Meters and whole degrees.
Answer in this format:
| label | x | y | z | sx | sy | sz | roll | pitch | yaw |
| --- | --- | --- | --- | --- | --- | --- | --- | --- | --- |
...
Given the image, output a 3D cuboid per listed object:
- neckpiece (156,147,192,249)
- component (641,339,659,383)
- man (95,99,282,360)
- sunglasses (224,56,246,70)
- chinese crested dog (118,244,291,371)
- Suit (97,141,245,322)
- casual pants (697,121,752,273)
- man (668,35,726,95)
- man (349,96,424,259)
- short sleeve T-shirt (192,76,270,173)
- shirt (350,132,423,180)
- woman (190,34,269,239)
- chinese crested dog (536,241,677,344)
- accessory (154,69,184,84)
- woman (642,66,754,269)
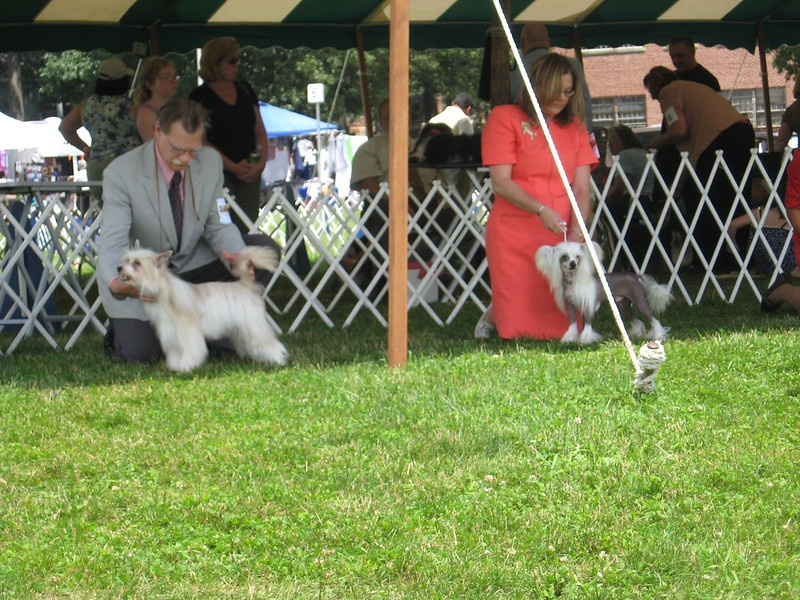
| label | x | y | z | sx | sy | sz | roll | pitch | yaw |
| --- | --- | --- | --- | --- | --- | --- | --- | --- | --- |
| neckpiece | -1.477 | -0.702 | 6.084 | 0.260 | 0.510 | 0.120 | -3 | 10 | -27 |
| component | 1.333 | 0.310 | 4.918 | 0.120 | 0.211 | 0.233 | 5 | 11 | 14 |
| man | -1.626 | -0.467 | 6.288 | 1.185 | 1.753 | 1.041 | -18 | 32 | -41 |
| sunglasses | -1.432 | -2.042 | 7.986 | 0.066 | 0.118 | 0.197 | 5 | 11 | 15 |
| chinese crested dog | -1.191 | 0.035 | 6.000 | 1.063 | 0.774 | 0.368 | 0 | 18 | 15 |
| Suit | -1.563 | -0.432 | 6.364 | 0.928 | 1.262 | 0.837 | -2 | 31 | -15 |
| casual pants | 3.071 | -1.014 | 8.833 | 0.506 | 1.385 | 1.190 | 6 | 11 | 20 |
| man | 3.124 | -2.542 | 9.988 | 0.414 | 0.670 | 0.798 | -24 | 25 | -19 |
| man | -0.156 | -1.101 | 8.537 | 0.639 | 1.484 | 1.403 | 3 | 11 | 6 |
| short sleeve T-shirt | -1.496 | -1.624 | 8.220 | 0.636 | 0.647 | 0.336 | -11 | 3 | 8 |
| shirt | -0.185 | -1.352 | 8.708 | 0.264 | 0.446 | 0.576 | 26 | 44 | 31 |
| woman | -1.503 | -1.231 | 8.351 | 0.678 | 2.221 | 0.670 | -11 | 30 | -22 |
| chinese crested dog | 1.424 | -0.068 | 6.361 | 0.948 | 0.701 | 0.501 | -1 | 11 | -17 |
| accessory | -1.951 | -1.882 | 7.732 | 0.165 | 0.101 | 0.128 | -19 | -6 | 41 |
| woman | 2.911 | -1.307 | 8.982 | 0.741 | 2.179 | 1.011 | -11 | -1 | -36 |
